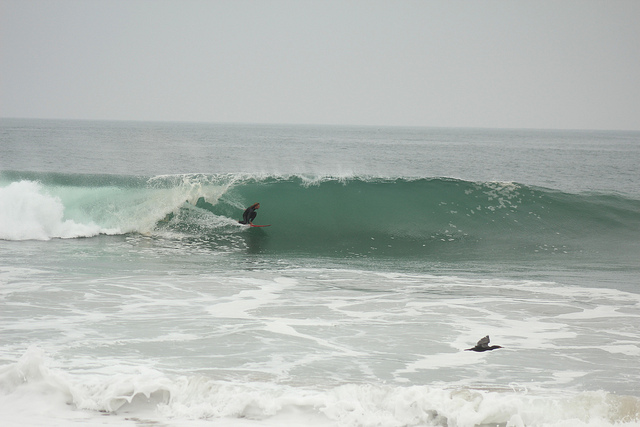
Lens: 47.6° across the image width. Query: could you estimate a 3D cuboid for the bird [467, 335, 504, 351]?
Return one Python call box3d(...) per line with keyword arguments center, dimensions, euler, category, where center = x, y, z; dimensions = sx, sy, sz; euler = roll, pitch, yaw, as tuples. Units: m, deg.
box3d(center=(2.633, 2.086, 11.516), dimensions=(0.339, 0.125, 0.277), euler=(19, -7, 15), category="bird")
